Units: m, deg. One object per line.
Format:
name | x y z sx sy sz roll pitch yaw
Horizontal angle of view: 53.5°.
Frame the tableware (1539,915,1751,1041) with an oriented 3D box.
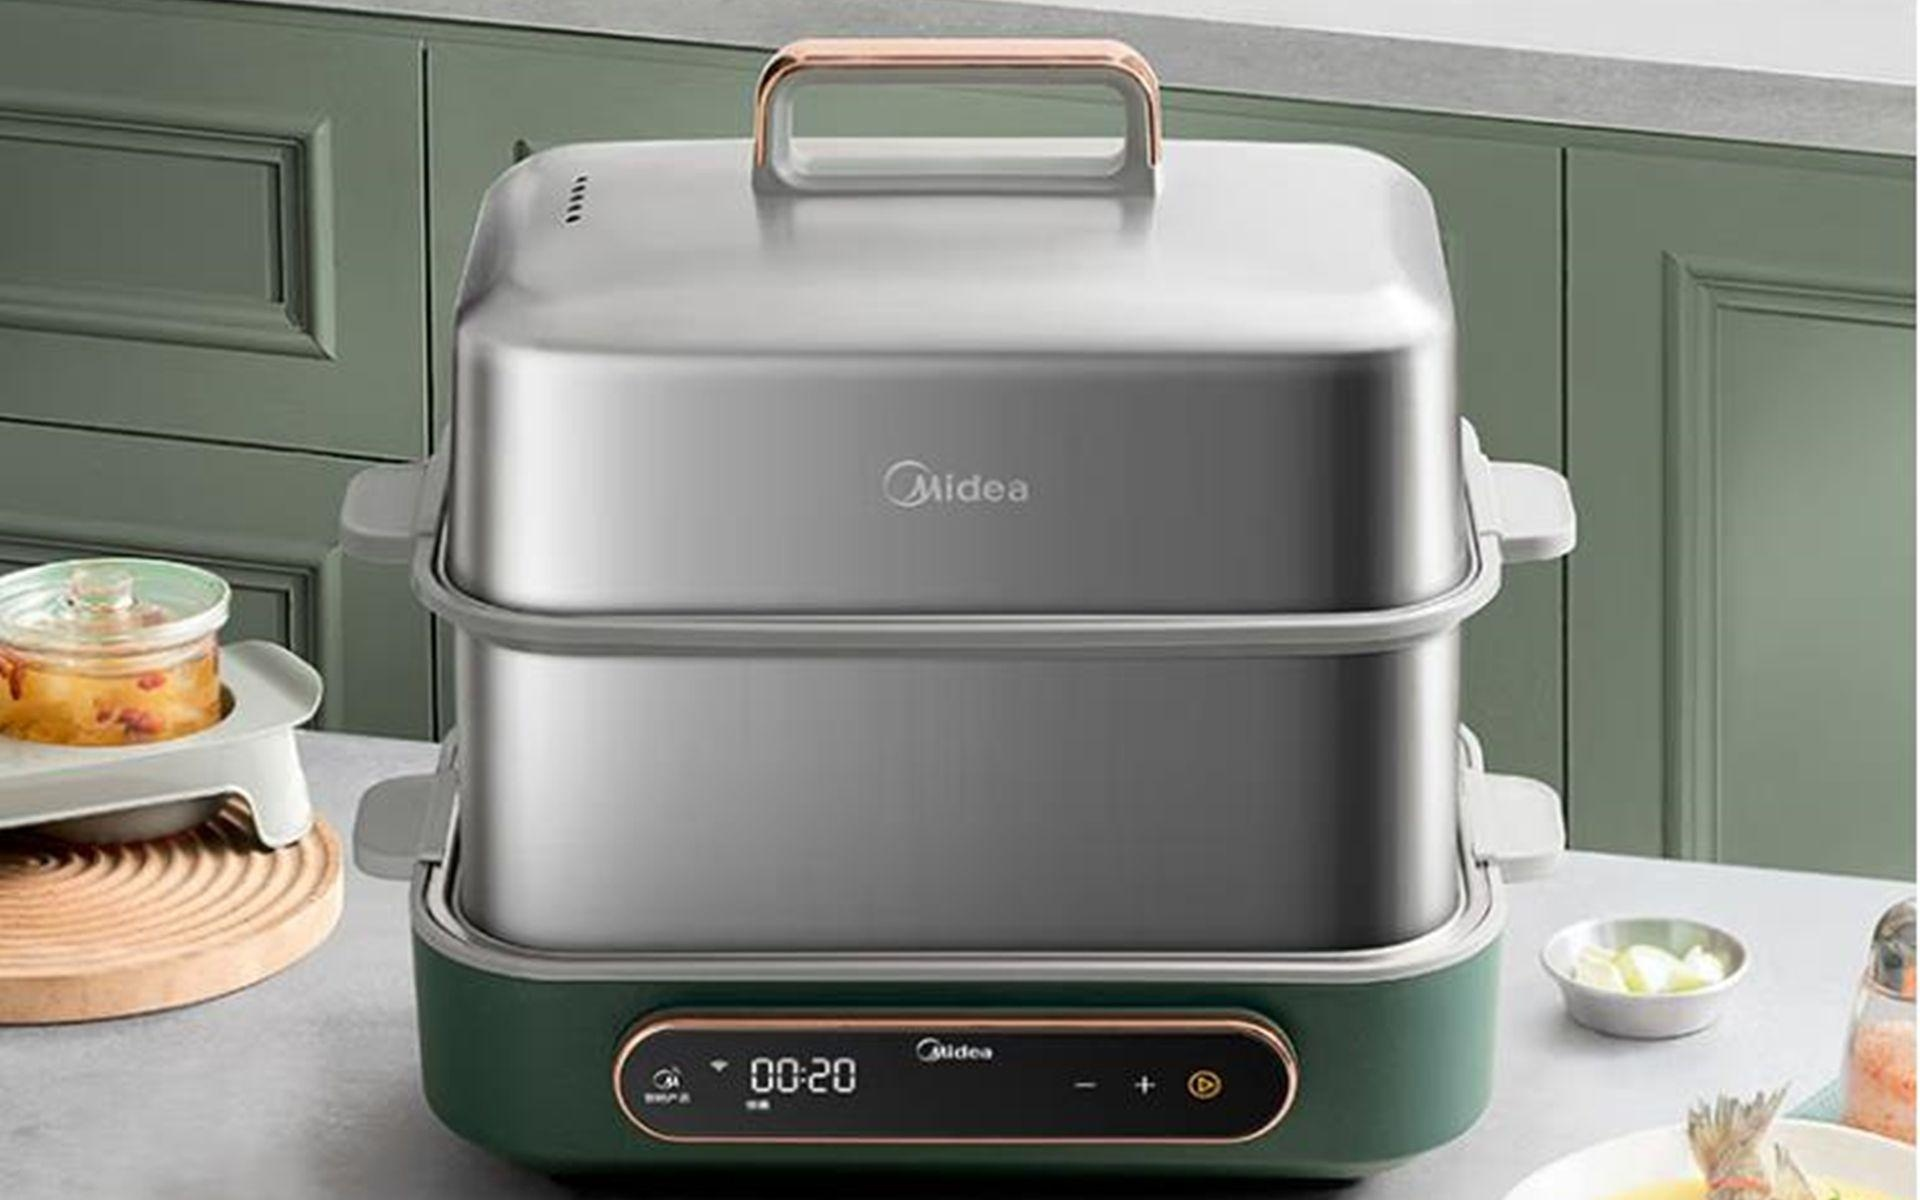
tableware | 0.395 0.220 1.103 0.110 0.034 0.107 -16 18 -30
